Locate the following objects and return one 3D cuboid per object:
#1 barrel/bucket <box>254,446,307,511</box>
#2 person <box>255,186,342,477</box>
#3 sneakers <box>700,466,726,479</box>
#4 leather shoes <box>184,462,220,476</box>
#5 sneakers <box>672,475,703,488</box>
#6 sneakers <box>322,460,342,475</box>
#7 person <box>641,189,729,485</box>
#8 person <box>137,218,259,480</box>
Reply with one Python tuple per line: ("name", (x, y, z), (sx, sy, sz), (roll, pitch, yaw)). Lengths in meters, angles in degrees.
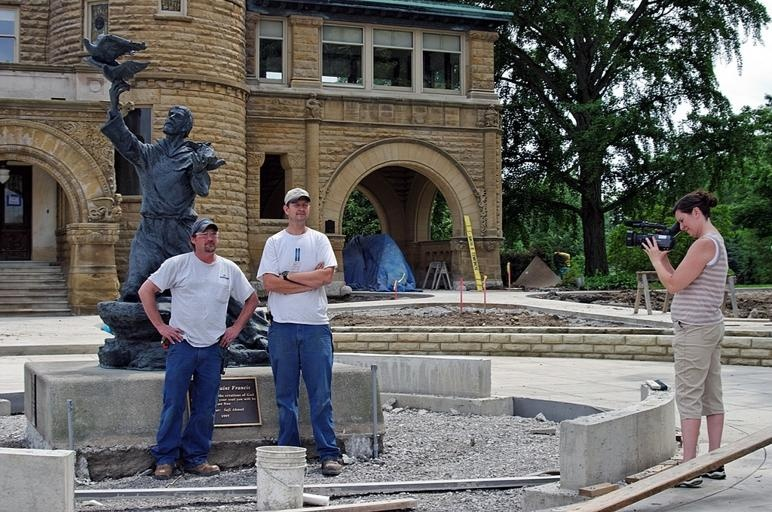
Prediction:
("barrel/bucket", (-1.518, 2.997, 15.130), (0.783, 0.778, 0.786), (1, -4, 0))
("person", (-1.221, 1.100, 15.992), (1.043, 4.119, 0.328), (-1, -3, -3))
("sneakers", (4.575, 2.995, 15.433), (0.462, 0.196, 0.212), (0, -4, -27))
("leather shoes", (-2.631, 3.055, 16.011), (0.496, 0.158, 0.185), (-1, 6, 4))
("sneakers", (4.060, 3.089, 15.287), (0.521, 0.210, 0.169), (-1, -2, 1))
("sneakers", (-0.754, 3.049, 16.018), (0.312, 0.226, 0.202), (0, -4, -18))
("person", (4.263, 0.957, 15.559), (1.007, 3.736, 0.625), (-2, -3, 6))
("person", (-2.711, 1.338, 15.931), (1.466, 3.642, 0.390), (-1, -3, -12))
